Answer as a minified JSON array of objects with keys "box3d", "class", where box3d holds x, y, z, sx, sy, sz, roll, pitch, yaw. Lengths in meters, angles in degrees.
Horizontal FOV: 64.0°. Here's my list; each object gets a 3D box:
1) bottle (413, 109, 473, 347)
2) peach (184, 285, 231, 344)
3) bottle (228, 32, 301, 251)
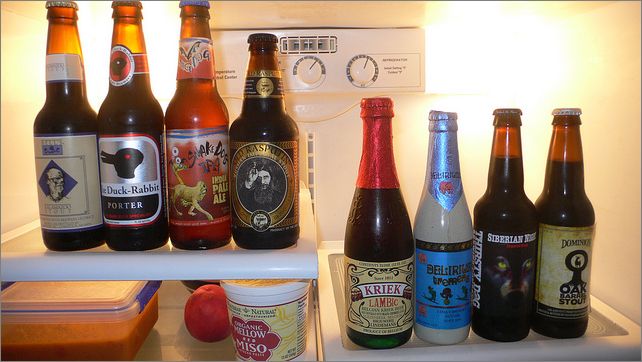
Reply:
[{"box3d":[0.287,0.129,1.288,0.177,0.536,0.160,0,4,-24],"class":"bottle"},{"box3d":[-0.290,0.344,1.375,0.123,0.141,0.117,-6,6,-26],"class":"peach"},{"box3d":[-0.161,-0.092,1.209,0.207,0.473,0.185,6,8,17],"class":"bottle"}]
